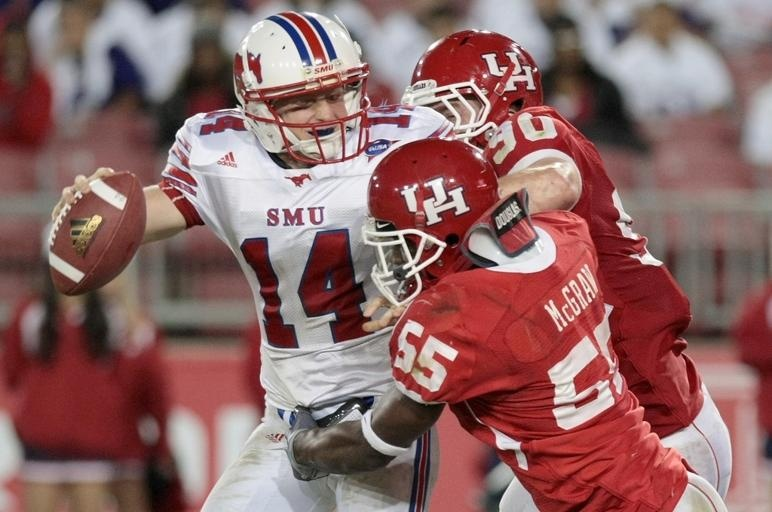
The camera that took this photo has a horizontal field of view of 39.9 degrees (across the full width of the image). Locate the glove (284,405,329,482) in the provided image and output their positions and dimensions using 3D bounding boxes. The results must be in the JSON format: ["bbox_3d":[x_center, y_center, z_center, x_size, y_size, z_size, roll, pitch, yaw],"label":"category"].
[{"bbox_3d":[-0.372,0.802,4.519,0.162,0.314,0.229,2,-17,-9],"label":"glove"}]

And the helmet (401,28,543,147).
[{"bbox_3d":[0.394,-0.801,5.148,0.648,0.490,0.469,-7,0,-13],"label":"helmet"}]
